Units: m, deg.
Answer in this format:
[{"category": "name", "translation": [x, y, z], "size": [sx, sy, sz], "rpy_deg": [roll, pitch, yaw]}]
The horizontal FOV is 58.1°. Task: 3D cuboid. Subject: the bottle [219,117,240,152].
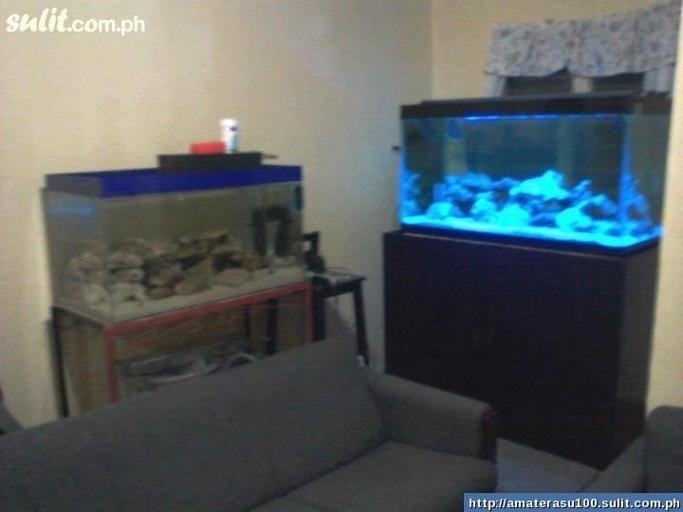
[{"category": "bottle", "translation": [-0.163, -0.180, 0.907], "size": [0.027, 0.046, 0.044], "rpy_deg": [-3, 15, -5]}]
